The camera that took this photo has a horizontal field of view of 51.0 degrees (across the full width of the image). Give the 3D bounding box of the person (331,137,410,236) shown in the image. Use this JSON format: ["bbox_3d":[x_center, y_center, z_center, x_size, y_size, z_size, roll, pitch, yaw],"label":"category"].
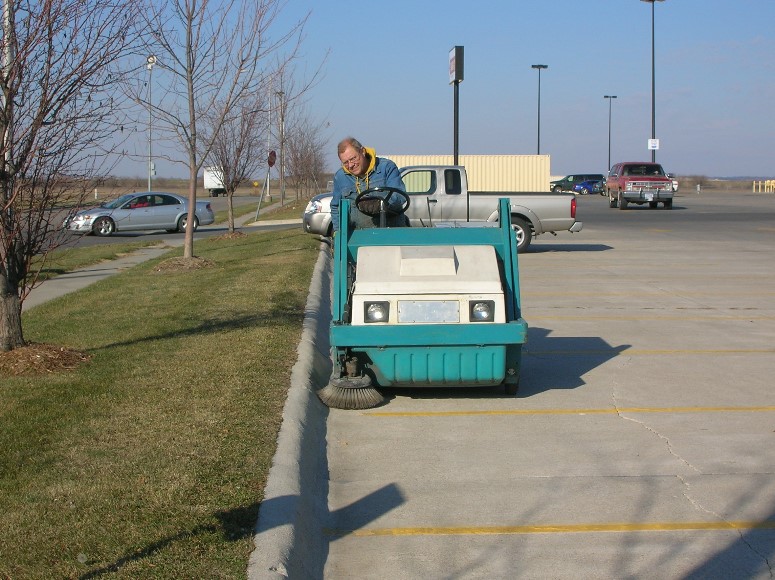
[{"bbox_3d":[-0.181,-1.102,8.435,0.802,0.905,0.805,1,10,-5],"label":"person"}]

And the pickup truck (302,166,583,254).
[{"bbox_3d":[1.280,-2.001,18.920,5.656,2.125,2.681,-1,7,-10],"label":"pickup truck"}]
